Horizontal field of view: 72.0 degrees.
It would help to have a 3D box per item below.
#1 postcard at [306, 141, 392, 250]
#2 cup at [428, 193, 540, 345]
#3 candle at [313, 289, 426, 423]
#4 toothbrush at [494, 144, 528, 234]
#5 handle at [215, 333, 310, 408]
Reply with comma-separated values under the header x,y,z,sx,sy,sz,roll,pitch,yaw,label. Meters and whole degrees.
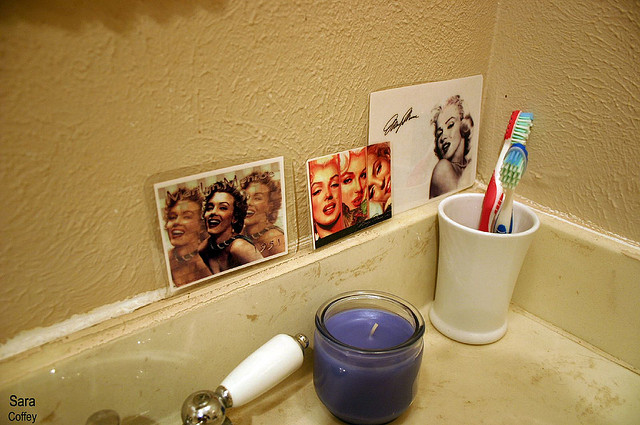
x,y,z,sx,sy,sz,roll,pitch,yaw,label
0.057,-0.037,0.743,0.181,0.151,0.007,-19,27,-30,postcard
0.300,0.109,0.866,0.180,0.268,0.205,-18,30,-33,cup
0.069,0.211,0.655,0.178,0.161,0.182,6,28,15,candle
0.329,-0.032,0.763,0.038,0.184,0.054,18,35,32,toothbrush
-0.075,0.225,0.637,0.057,0.052,0.152,28,49,32,handle
